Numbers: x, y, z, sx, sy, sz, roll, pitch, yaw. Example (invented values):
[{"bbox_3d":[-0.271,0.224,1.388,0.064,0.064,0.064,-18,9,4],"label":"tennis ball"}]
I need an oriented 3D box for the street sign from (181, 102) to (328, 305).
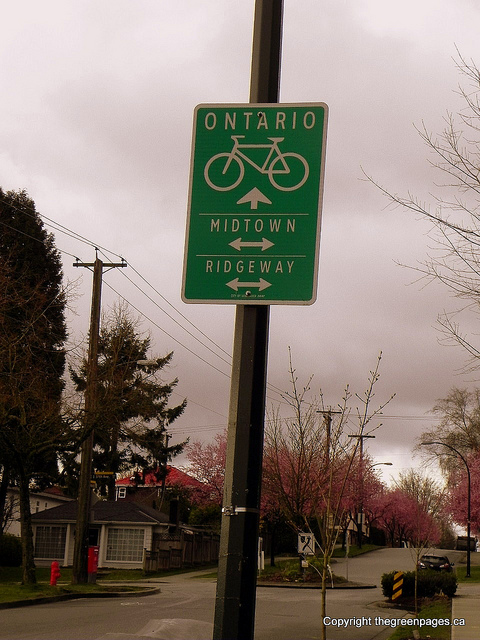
[{"bbox_3d":[0.061,-0.579,4.132,0.680,1.050,0.156,0,-10,14],"label":"street sign"}]
